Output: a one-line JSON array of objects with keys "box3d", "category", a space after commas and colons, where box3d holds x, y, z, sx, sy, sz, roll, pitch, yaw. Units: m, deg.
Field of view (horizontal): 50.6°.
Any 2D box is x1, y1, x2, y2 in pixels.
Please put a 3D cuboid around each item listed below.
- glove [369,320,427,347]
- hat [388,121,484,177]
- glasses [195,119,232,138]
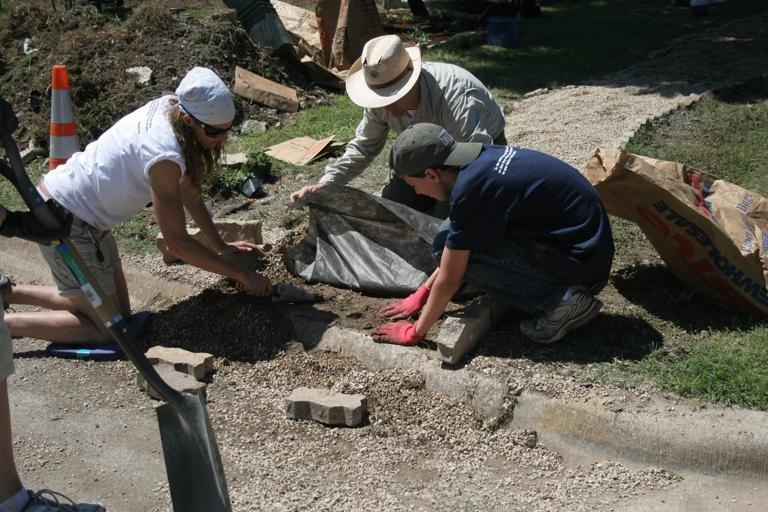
[{"box3d": [0.083, 0.564, 5.886, 0.336, 0.096, 0.164, 0, 37, 12], "category": "glove"}, {"box3d": [0.349, -0.714, 5.468, 0.537, 0.193, 0.326, -7, 34, 18], "category": "hat"}, {"box3d": [-1.214, -0.922, 5.745, 0.143, 0.042, 0.148, 42, 30, 20], "category": "glasses"}]
